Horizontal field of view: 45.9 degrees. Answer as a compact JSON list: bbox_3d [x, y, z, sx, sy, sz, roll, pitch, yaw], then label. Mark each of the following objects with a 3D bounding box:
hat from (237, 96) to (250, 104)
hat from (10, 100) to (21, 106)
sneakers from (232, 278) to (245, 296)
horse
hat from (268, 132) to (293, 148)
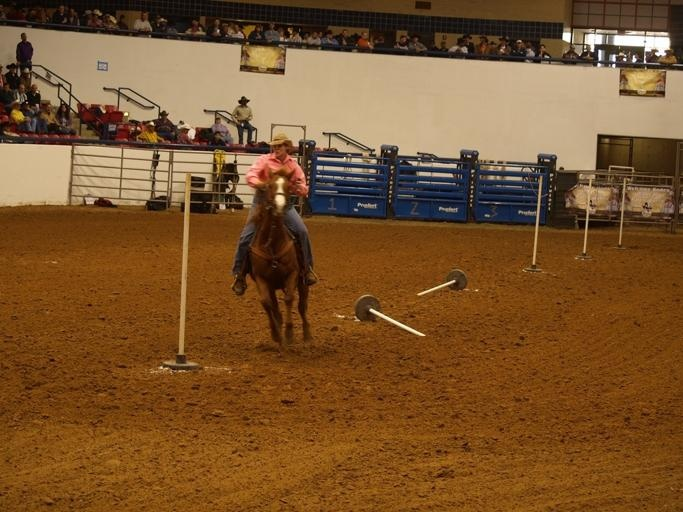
[{"bbox_3d":[-3.768,-5.836,30.817,0.364,0.136,0.421,-4,-11,-8],"label":"hat"},{"bbox_3d":[-10.797,-4.942,26.393,0.387,0.092,0.256,-12,-1,17],"label":"hat"},{"bbox_3d":[-1.390,0.412,10.898,0.208,0.213,0.086,3,31,-4],"label":"sneakers"},{"bbox_3d":[-0.836,0.051,10.579,0.846,2.400,1.384,7,14,9],"label":"horse"},{"bbox_3d":[-0.786,-1.466,10.474,0.261,0.168,0.318,2,12,-4],"label":"hat"}]
